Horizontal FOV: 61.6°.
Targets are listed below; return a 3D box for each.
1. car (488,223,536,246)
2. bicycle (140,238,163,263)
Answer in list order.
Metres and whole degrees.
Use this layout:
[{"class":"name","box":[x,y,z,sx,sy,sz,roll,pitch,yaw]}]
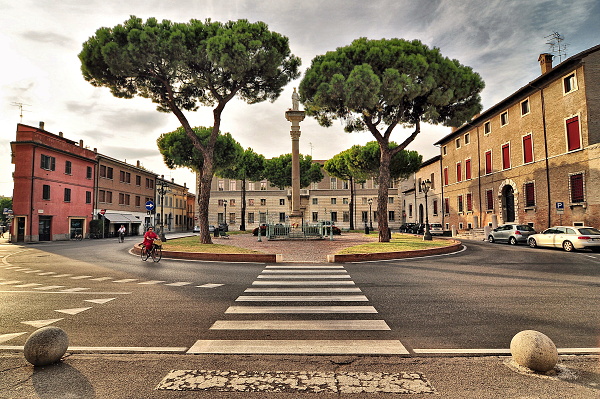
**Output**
[{"class":"car","box":[14.827,2.393,35.643,1.446,1.037,2.380,0,0,-4]},{"class":"bicycle","box":[-7.914,2.880,27.392,1.503,0.915,0.741,-8,-12,34]}]
